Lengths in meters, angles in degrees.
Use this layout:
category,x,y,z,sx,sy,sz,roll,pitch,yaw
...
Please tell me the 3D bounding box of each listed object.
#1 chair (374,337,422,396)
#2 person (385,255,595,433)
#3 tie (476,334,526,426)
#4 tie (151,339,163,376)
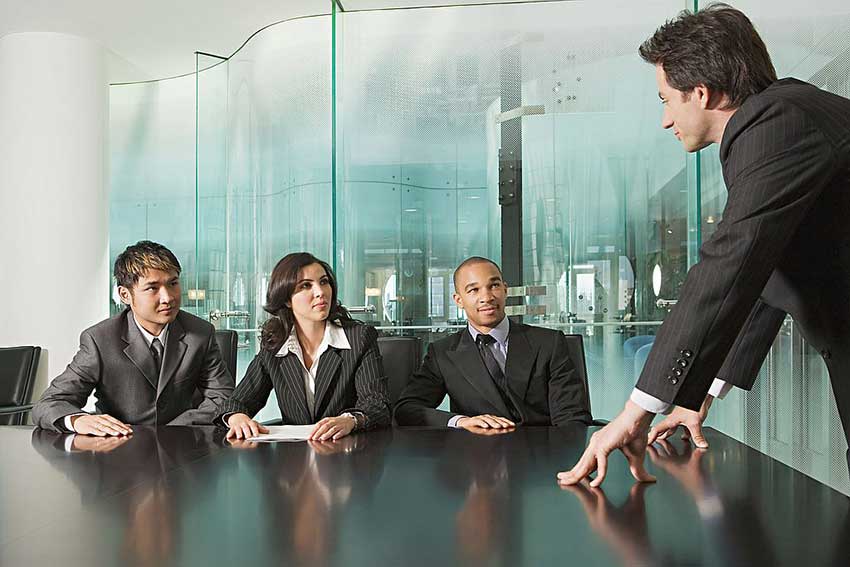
category,x,y,z,sx,sy,sz,roll,pitch,yaw
chair,-0.151,0.411,2.903,0.239,0.354,0.251,1,-10,-7
person,0.279,0.430,2.622,0.738,1.034,0.576,-5,-5,-1
tie,0.309,0.387,2.662,0.106,0.506,0.085,-2,-33,-26
tie,-1.178,0.330,2.614,0.034,0.177,0.046,-2,-44,-10
